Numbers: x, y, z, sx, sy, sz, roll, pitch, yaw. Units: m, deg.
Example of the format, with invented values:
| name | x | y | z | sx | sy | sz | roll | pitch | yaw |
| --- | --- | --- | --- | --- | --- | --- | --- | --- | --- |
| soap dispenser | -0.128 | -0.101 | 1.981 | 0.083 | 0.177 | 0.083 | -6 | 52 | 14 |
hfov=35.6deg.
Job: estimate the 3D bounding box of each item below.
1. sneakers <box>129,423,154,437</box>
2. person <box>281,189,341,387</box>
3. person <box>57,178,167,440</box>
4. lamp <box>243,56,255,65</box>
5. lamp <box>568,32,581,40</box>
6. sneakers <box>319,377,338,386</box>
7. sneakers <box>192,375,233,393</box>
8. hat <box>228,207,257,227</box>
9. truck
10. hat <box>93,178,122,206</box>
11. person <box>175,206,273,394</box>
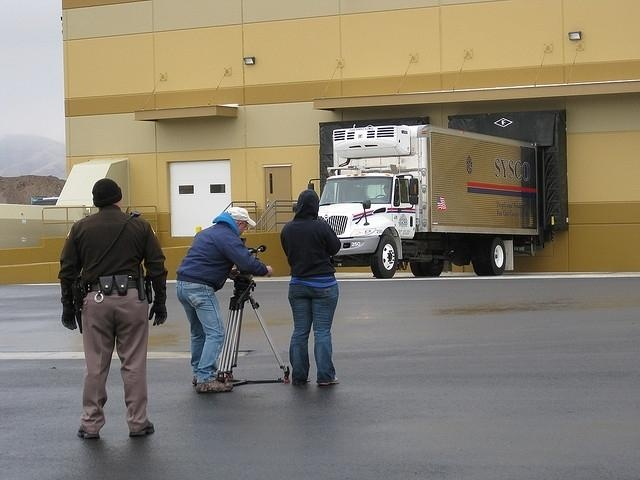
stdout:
| name | x | y | z | sx | sy | sz | roll | pitch | yaw |
| --- | --- | --- | --- | --- | --- | --- | --- | --- | --- |
| sneakers | -1.915 | 2.076 | 10.752 | 0.108 | 0.152 | 0.295 | 4 | 7 | 22 |
| person | -0.127 | 0.609 | 13.083 | 0.766 | 2.535 | 0.772 | 0 | 2 | -2 |
| person | -2.219 | 0.738 | 10.742 | 1.108 | 2.774 | 0.448 | -1 | 2 | -16 |
| lamp | -2.807 | -7.093 | 39.266 | 0.526 | 0.384 | 0.313 | 0 | 2 | 10 |
| lamp | 8.962 | -7.230 | 35.223 | 0.439 | 0.278 | 0.320 | 3 | 7 | 35 |
| sneakers | 0.121 | 1.826 | 12.809 | 0.293 | 0.090 | 0.142 | -2 | 3 | -26 |
| sneakers | -1.350 | 1.853 | 12.690 | 0.521 | 0.245 | 0.184 | -2 | 3 | -15 |
| hat | -1.031 | -0.291 | 13.013 | 0.339 | 0.181 | 0.228 | 19 | 16 | -17 |
| truck | 3.359 | -1.105 | 31.298 | 8.294 | 4.415 | 4.000 | 1 | 1 | -44 |
| hat | -2.299 | -0.524 | 10.758 | 0.286 | 0.257 | 0.298 | 5 | 25 | 33 |
| person | -1.320 | 0.750 | 12.852 | 1.026 | 2.324 | 0.685 | 0 | 2 | -6 |
